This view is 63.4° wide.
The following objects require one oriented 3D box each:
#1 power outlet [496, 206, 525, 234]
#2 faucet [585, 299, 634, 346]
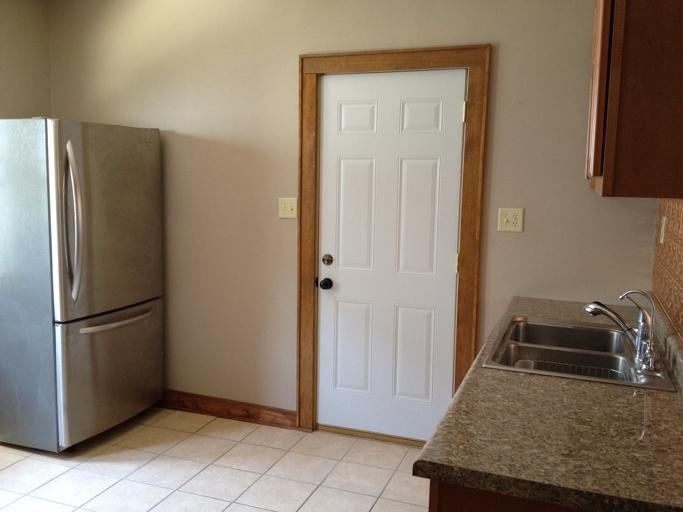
[{"bbox_3d":[0.974,-0.212,3.169,0.143,0.138,0.020,3,4,20],"label":"power outlet"},{"bbox_3d":[1.108,0.254,2.276,0.193,0.158,0.215,6,13,27],"label":"faucet"}]
